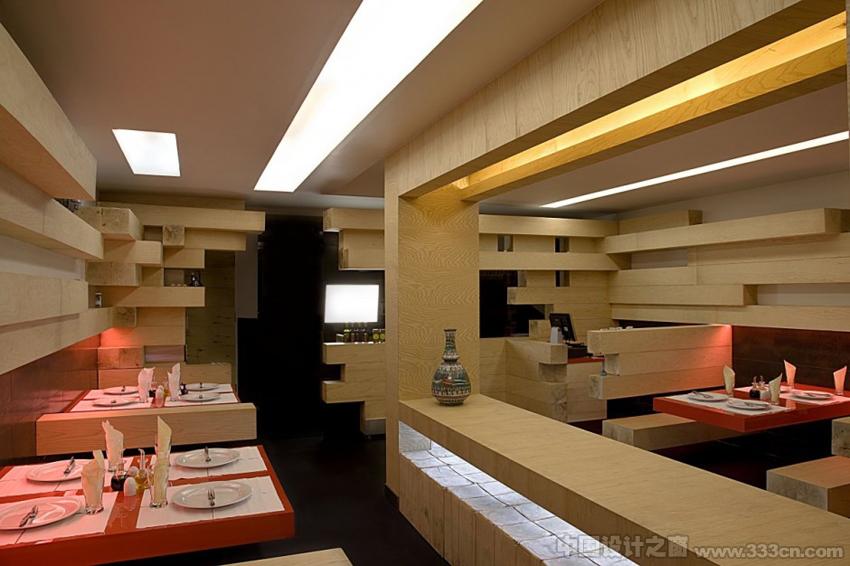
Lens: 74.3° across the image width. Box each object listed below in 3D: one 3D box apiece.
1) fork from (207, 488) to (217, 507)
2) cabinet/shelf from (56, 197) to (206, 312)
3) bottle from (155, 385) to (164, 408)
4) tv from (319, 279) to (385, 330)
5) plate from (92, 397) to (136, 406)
[{"bbox_3d":[-1.394,1.411,3.654,0.041,0.044,0.191,2,-5,-25],"label":"fork"},{"bbox_3d":[-3.144,-0.303,5.961,0.472,1.216,1.457,-5,-5,33],"label":"cabinet/shelf"},{"bbox_3d":[-2.719,1.168,5.737,0.087,0.182,0.259,3,-5,-25],"label":"bottle"},{"bbox_3d":[-1.186,0.328,8.663,0.855,0.566,0.040,0,-3,-18],"label":"tv"},{"bbox_3d":[-3.185,1.223,5.728,0.423,0.063,0.356,2,-5,-14],"label":"plate"}]
